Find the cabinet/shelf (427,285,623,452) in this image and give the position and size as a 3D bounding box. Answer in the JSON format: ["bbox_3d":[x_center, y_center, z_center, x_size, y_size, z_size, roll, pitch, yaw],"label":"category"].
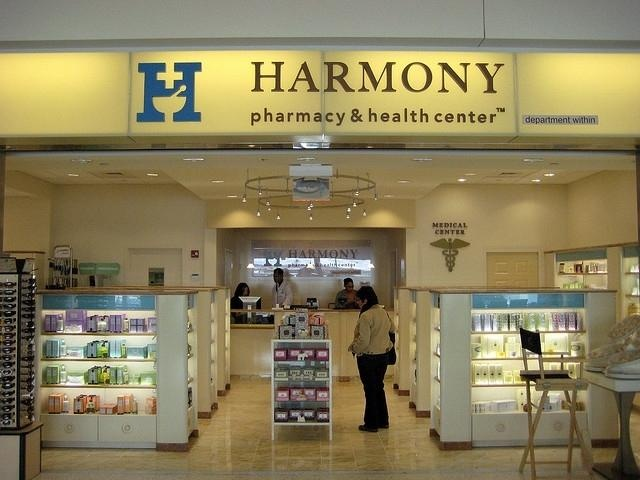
[{"bbox_3d":[2.805,1.767,8.028,2.051,1.826,0.791,0,-4,1],"label":"cabinet/shelf"}]

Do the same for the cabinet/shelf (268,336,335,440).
[{"bbox_3d":[-0.281,2.104,8.930,1.020,1.383,0.888,0,3,-11],"label":"cabinet/shelf"}]

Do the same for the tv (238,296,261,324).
[{"bbox_3d":[-1.486,1.480,12.589,0.471,0.660,0.455,0,-2,-6],"label":"tv"}]

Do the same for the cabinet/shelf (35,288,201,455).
[{"bbox_3d":[-2.855,1.835,8.180,2.154,2.112,0.848,0,-3,0],"label":"cabinet/shelf"}]

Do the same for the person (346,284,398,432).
[{"bbox_3d":[0.787,1.756,8.942,0.647,2.144,0.784,0,1,6],"label":"person"}]

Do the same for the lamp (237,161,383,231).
[{"bbox_3d":[-0.175,-0.773,10.757,2.607,0.786,5.471,0,1,-2],"label":"lamp"}]
